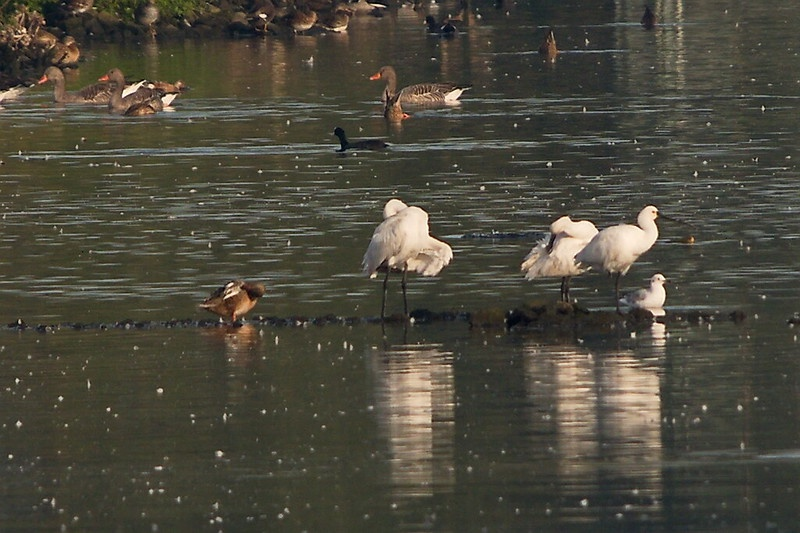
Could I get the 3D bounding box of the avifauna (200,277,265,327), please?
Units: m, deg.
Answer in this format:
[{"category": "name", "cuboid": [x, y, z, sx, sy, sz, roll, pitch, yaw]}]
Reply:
[{"category": "avifauna", "cuboid": [-3.860, 0.829, 41.522, 1.579, 0.840, 0.732, -7, 20, -31]}]
